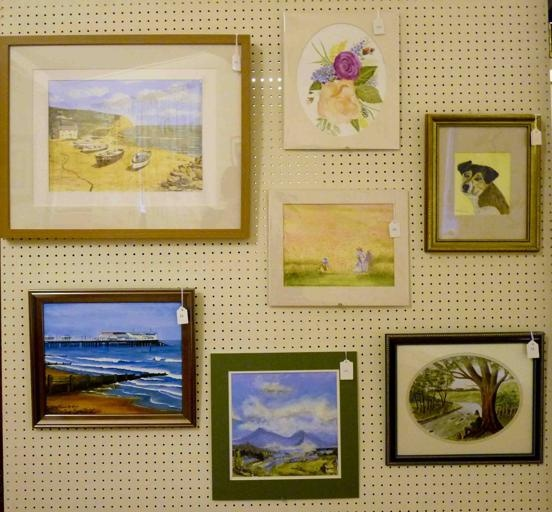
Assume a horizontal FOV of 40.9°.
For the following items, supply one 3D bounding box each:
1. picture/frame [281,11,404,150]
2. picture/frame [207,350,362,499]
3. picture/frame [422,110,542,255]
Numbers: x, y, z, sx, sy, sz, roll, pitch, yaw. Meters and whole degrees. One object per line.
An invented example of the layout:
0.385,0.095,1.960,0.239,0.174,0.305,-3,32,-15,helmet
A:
0.213,-0.592,2.443,0.312,0.509,0.018,0,4,1,picture/frame
0.018,0.581,2.452,0.329,0.480,0.018,-1,0,1,picture/frame
0.688,-0.243,2.447,0.314,0.532,0.032,0,0,-6,picture/frame
